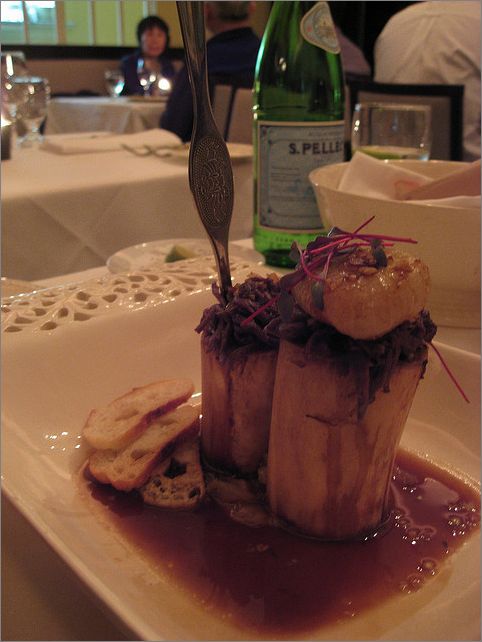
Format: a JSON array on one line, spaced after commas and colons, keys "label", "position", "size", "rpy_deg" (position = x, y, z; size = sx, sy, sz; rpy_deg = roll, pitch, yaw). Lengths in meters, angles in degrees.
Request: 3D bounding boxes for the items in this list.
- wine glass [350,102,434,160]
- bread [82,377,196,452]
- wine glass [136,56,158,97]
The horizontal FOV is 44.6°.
[{"label": "wine glass", "position": [0.212, -0.260, 0.843], "size": [0.100, 0.078, 0.094], "rpy_deg": [-5, 18, -12]}, {"label": "bread", "position": [-0.092, 0.079, 0.533], "size": [0.085, 0.016, 0.042], "rpy_deg": [-26, 26, -32]}, {"label": "wine glass", "position": [-0.752, -1.973, 4.737], "size": [0.172, 0.303, 0.304], "rpy_deg": [-4, 18, -7]}]
